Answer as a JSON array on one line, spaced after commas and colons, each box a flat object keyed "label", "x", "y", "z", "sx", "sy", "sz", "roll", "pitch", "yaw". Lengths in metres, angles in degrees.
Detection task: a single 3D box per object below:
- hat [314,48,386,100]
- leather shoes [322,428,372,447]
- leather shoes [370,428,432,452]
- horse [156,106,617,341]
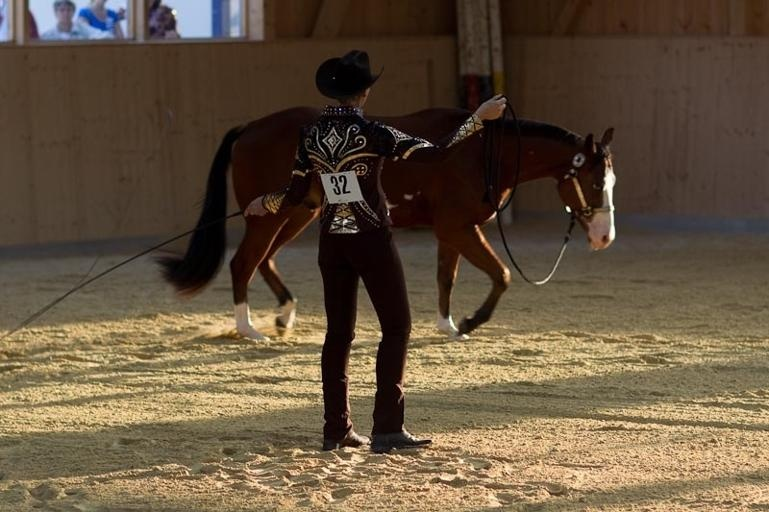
[{"label": "hat", "x": -0.341, "y": -1.613, "z": 14.383, "sx": 0.542, "sy": 0.435, "sz": 0.288, "roll": 2, "pitch": 9, "yaw": 0}, {"label": "leather shoes", "x": -0.357, "y": 1.681, "z": 14.626, "sx": 0.474, "sy": 0.185, "sz": 0.164, "roll": -6, "pitch": 9, "yaw": -18}, {"label": "leather shoes", "x": 0.123, "y": 1.670, "z": 14.599, "sx": 0.572, "sy": 0.210, "sz": 0.199, "roll": -2, "pitch": -2, "yaw": -8}, {"label": "horse", "x": 0.110, "y": -0.277, "z": 16.631, "sx": 4.690, "sy": 2.358, "sz": 1.146, "roll": 1, "pitch": -2, "yaw": -7}]
